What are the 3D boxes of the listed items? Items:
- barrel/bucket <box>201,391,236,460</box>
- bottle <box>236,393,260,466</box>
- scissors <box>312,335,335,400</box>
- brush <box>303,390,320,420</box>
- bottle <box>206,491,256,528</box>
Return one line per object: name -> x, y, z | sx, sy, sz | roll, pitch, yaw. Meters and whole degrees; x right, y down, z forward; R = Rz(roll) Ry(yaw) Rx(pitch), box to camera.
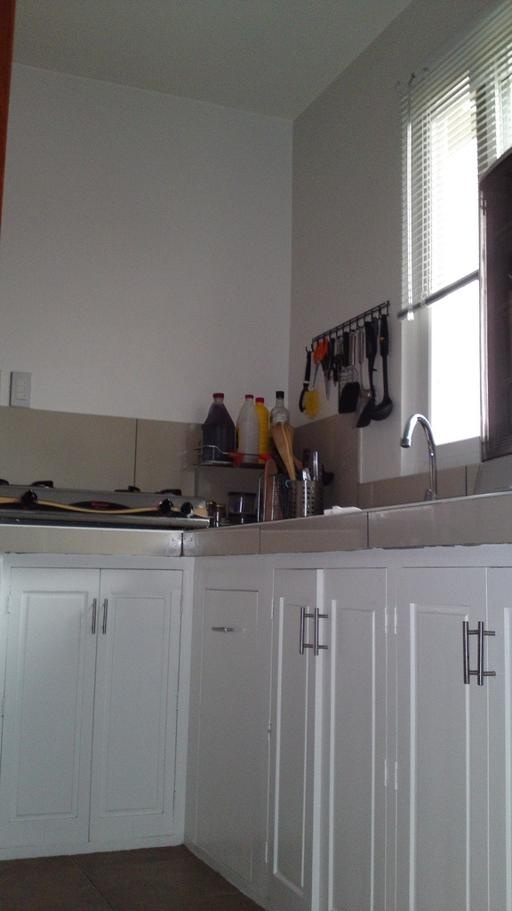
barrel/bucket -> -0.155, -0.112, 2.940 | 0.120, 0.283, 0.076 | 2, -4, -8
bottle -> -0.036, -0.109, 2.970 | 0.090, 0.293, 0.163 | 1, -4, -2
scissors -> 0.265, -0.347, 2.823 | 0.050, 0.263, 0.250 | 1, -4, -7
brush -> 0.227, -0.209, 2.915 | 0.025, 0.113, 0.103 | 3, -5, -30
bottle -> -0.096, 0.209, 2.757 | 0.140, 0.130, 0.149 | 4, -5, -7
